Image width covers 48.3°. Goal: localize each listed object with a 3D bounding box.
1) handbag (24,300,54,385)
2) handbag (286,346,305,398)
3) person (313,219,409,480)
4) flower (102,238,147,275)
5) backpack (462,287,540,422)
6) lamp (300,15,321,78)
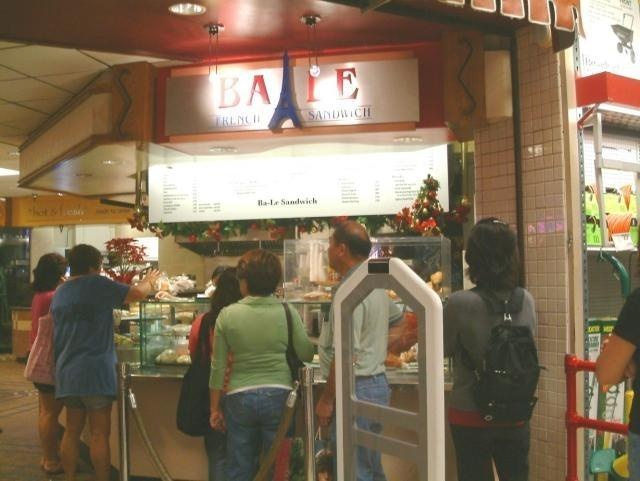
[{"bbox_3d":[-2.410,0.959,6.246,0.440,0.661,0.197,-4,-3,40],"label":"handbag"},{"bbox_3d":[-0.151,0.867,4.829,0.166,0.264,0.085,17,-18,-27],"label":"handbag"},{"bbox_3d":[0.246,0.653,4.332,0.539,1.592,1.164,-2,-2,-1],"label":"person"},{"bbox_3d":[-1.834,0.128,6.792,0.326,0.378,0.340,-2,0,35],"label":"flower"},{"bbox_3d":[1.086,0.730,4.317,0.451,0.764,0.189,-2,-3,8],"label":"backpack"},{"bbox_3d":[-0.067,-1.502,5.587,0.147,0.382,0.534,-2,-2,-1],"label":"lamp"}]
